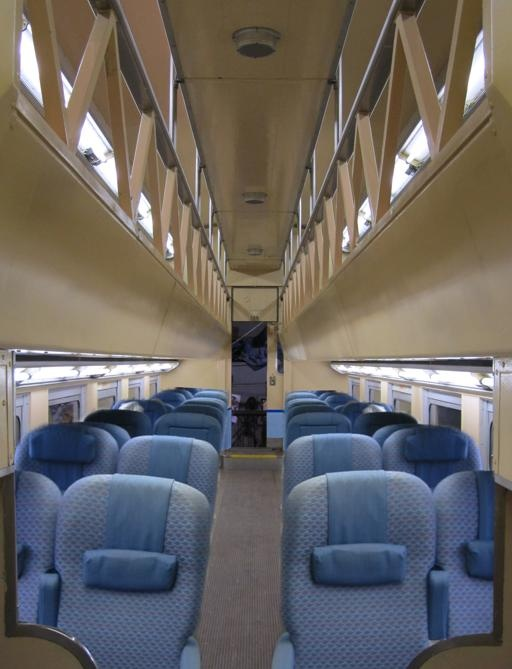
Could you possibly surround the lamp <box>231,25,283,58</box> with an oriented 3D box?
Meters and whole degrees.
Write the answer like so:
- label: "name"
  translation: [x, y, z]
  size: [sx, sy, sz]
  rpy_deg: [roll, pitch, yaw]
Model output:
- label: "lamp"
  translation: [0.004, -1.746, 2.887]
  size: [0.291, 0.104, 0.273]
  rpy_deg: [2, -10, -6]
